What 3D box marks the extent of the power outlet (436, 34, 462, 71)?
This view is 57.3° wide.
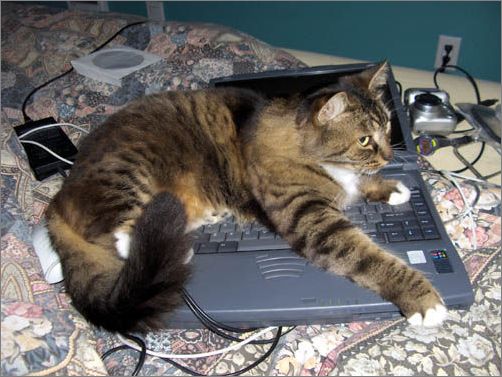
[{"bbox_3d":[0.847,-0.600,2.001,0.058,0.119,0.094,-2,30,-2],"label":"power outlet"}]

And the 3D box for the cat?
[{"bbox_3d":[-0.036,-0.026,1.284,1.059,0.438,0.745,-8,39,-9],"label":"cat"}]
